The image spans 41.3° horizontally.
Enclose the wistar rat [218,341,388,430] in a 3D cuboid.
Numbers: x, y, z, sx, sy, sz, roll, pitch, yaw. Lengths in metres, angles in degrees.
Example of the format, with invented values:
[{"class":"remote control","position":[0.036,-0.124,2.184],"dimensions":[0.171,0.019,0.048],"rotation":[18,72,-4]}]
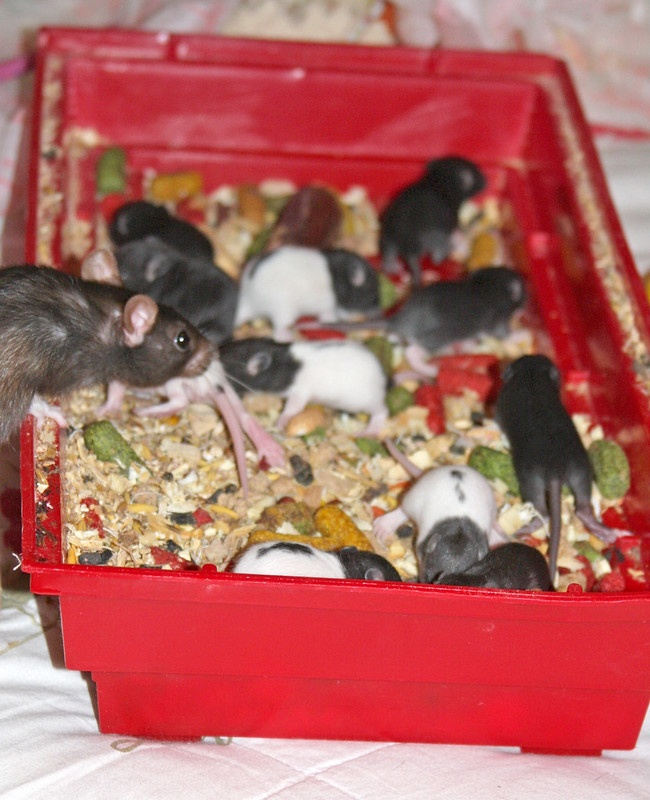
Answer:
[{"class":"wistar rat","position":[-0.051,-0.026,1.693],"dimensions":[0.396,0.158,0.118],"rotation":[9,14,-27]}]

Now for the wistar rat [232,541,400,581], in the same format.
[{"class":"wistar rat","position":[-0.020,0.243,1.301],"dimensions":[0.235,0.068,0.091],"rotation":[9,-7,-19]}]

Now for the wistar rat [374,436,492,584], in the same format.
[{"class":"wistar rat","position":[0.159,0.151,1.482],"dimensions":[0.114,0.128,0.260],"rotation":[7,8,20]}]

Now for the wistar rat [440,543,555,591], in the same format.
[{"class":"wistar rat","position":[0.256,0.258,1.324],"dimensions":[0.163,0.065,0.070],"rotation":[1,47,-2]}]

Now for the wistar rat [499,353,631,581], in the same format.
[{"class":"wistar rat","position":[0.400,0.160,1.529],"dimensions":[0.214,0.129,0.424],"rotation":[-15,7,9]}]

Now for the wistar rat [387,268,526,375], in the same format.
[{"class":"wistar rat","position":[0.268,-0.185,1.854],"dimensions":[0.402,0.122,0.225],"rotation":[-13,33,-19]}]
